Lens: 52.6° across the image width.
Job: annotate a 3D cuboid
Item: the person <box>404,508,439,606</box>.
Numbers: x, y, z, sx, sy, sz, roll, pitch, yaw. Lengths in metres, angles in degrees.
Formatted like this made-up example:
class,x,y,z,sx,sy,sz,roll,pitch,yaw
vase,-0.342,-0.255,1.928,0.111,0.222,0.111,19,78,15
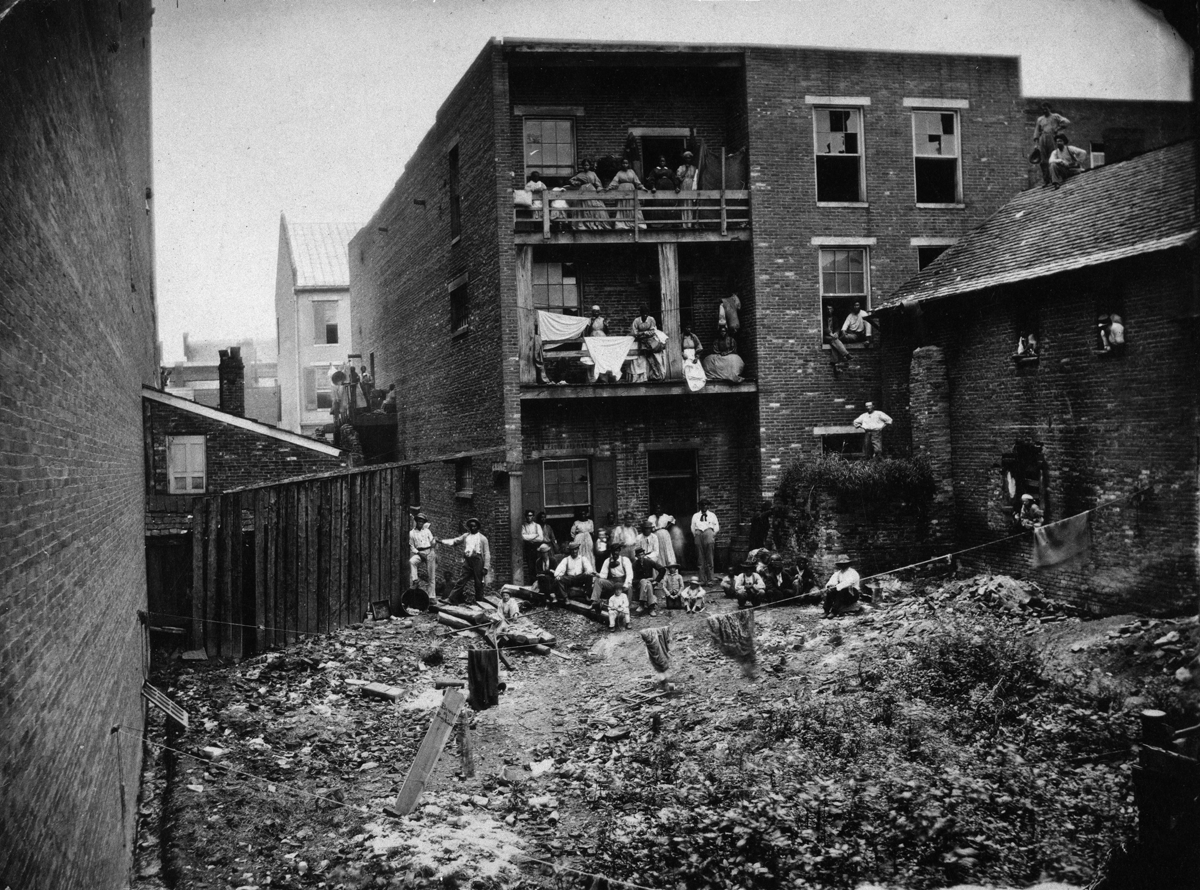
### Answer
class,x,y,z,sx,sy,sz,roll,pitch,yaw
person,-2.798,1.723,19.013,0.447,1.388,1.279,0,-5,-8

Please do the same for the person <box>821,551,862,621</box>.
class,x,y,z,sx,sy,sz,roll,pitch,yaw
person,3.252,1.886,16.445,0.524,0.833,0.607,-3,-5,16

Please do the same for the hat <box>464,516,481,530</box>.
class,x,y,z,sx,sy,sz,roll,pitch,yaw
hat,-1.978,1.189,18.871,0.258,0.071,0.278,1,-34,-7

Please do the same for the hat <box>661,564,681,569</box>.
class,x,y,z,sx,sy,sz,roll,pitch,yaw
hat,1.032,1.810,18.311,0.143,0.052,0.144,4,-13,-42

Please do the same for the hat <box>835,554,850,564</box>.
class,x,y,z,sx,sy,sz,roll,pitch,yaw
hat,3.248,1.514,16.254,0.147,0.071,0.157,-4,2,6

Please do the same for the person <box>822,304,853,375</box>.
class,x,y,z,sx,sy,sz,roll,pitch,yaw
person,3.938,-1.786,20.432,0.420,1.189,0.399,-1,-5,-2

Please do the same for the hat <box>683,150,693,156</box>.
class,x,y,z,sx,sy,sz,roll,pitch,yaw
hat,1.491,-5.016,20.919,0.169,0.061,0.163,-2,1,-27

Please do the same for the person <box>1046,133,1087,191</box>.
class,x,y,z,sx,sy,sz,roll,pitch,yaw
person,7.004,-4.242,18.366,0.453,0.911,0.957,-3,-5,21

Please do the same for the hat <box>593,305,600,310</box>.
class,x,y,z,sx,sy,sz,roll,pitch,yaw
hat,-0.093,-2.327,20.588,0.113,0.044,0.118,-1,-2,-24

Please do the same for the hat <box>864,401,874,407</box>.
class,x,y,z,sx,sy,sz,roll,pitch,yaw
hat,4.381,-0.659,19.817,0.097,0.102,0.102,-1,-2,-2
